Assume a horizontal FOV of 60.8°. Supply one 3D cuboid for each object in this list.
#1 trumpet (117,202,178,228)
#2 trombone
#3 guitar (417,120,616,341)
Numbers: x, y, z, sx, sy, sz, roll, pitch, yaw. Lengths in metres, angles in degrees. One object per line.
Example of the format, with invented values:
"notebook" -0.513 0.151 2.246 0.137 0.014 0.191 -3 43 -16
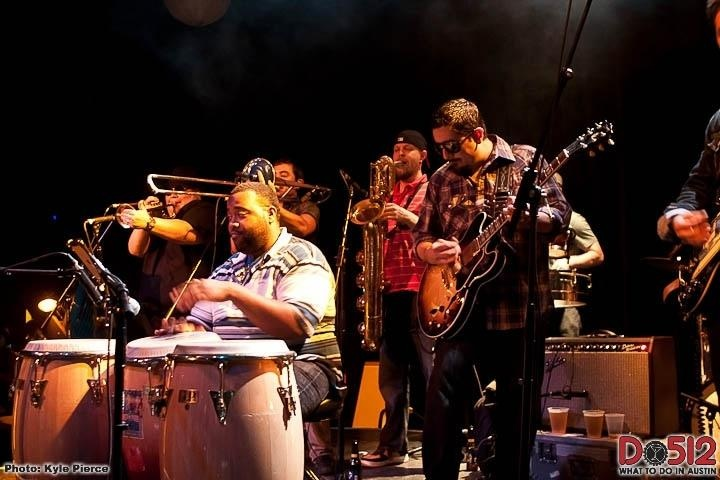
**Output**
"trumpet" -2.001 -0.199 5.622 0.353 0.134 0.261 7 14 -44
"trombone" -1.156 -0.564 6.014 1.867 0.608 0.406 6 15 -22
"guitar" 1.008 -0.086 4.629 1.225 1.636 1.638 5 7 6
